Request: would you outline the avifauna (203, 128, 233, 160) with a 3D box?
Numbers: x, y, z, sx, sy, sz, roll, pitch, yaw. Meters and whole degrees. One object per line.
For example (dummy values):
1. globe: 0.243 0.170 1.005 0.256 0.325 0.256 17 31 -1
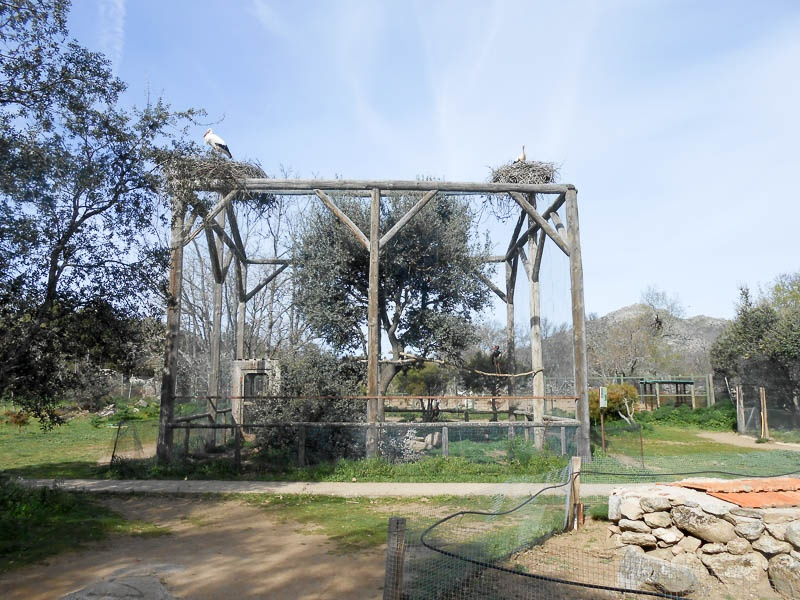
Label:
1. avifauna: -4.752 -4.141 16.276 0.576 0.733 0.861 5 -13 -25
